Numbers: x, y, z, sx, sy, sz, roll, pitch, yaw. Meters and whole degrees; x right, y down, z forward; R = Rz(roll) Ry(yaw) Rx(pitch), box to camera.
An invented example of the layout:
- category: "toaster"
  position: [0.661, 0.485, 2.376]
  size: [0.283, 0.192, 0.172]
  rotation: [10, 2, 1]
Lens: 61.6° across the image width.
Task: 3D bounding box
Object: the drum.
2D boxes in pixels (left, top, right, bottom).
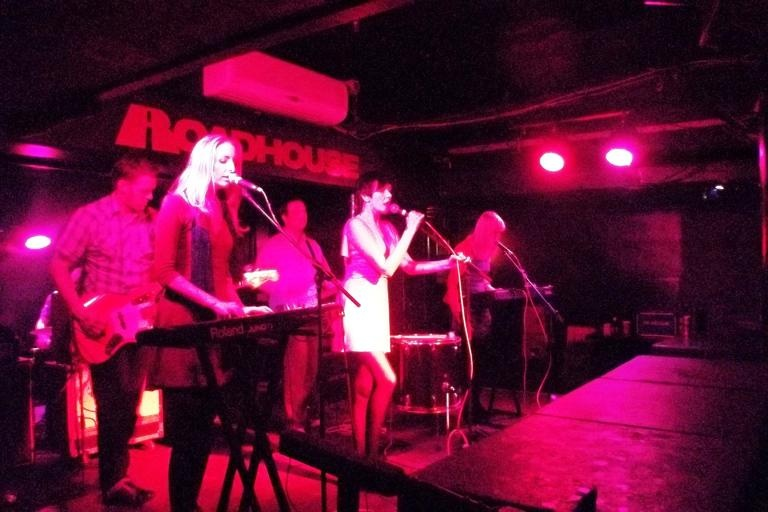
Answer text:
- category: "drum"
  position: [0.425, 1.069, 6.215]
  size: [0.728, 0.735, 0.707]
  rotation: [-2, 5, 4]

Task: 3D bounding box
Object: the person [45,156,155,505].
- category: "person"
  position: [-2.049, 0.501, 4.788]
  size: [0.776, 2.575, 0.406]
  rotation: [4, -8, -19]

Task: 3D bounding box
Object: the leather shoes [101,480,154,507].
- category: "leather shoes"
  position: [-1.857, 1.706, 4.651]
  size: [0.310, 0.133, 0.175]
  rotation: [0, -5, 2]

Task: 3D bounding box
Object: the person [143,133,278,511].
- category: "person"
  position: [-1.026, 0.345, 3.656]
  size: [0.591, 2.148, 0.338]
  rotation: [5, -8, -21]

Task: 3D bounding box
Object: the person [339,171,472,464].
- category: "person"
  position: [-0.055, 0.409, 4.639]
  size: [0.536, 2.004, 0.436]
  rotation: [2, -8, -5]
